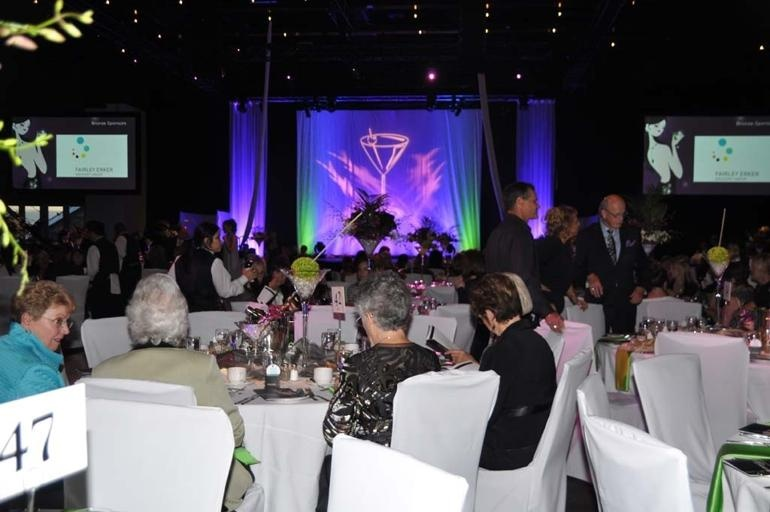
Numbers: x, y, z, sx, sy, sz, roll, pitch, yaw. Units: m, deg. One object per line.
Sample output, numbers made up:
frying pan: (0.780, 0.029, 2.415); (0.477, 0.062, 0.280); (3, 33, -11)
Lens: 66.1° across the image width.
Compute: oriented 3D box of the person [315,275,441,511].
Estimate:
person: (-0.025, 0.706, 2.890); (0.587, 1.232, 0.605); (2, 4, -3)

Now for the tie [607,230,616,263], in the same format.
tie: (2.123, -0.079, 5.574); (0.046, 0.373, 0.044); (-4, -12, -6)

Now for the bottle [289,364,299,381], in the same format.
bottle: (-0.526, 0.693, 3.463); (0.057, 0.104, 0.060); (-1, 2, 0)

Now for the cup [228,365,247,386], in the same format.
cup: (-0.821, 0.675, 3.295); (0.090, 0.073, 0.088); (-1, -6, 0)

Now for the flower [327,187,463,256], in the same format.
flower: (0.448, -0.816, 13.628); (1.870, 1.060, 1.737); (4, 1, 29)

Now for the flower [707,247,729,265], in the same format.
flower: (2.797, -0.001, 4.981); (0.159, 0.149, 0.151); (3, 11, 34)

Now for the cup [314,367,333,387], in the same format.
cup: (-0.347, 0.689, 3.370); (0.094, 0.099, 0.098); (1, -1, 0)

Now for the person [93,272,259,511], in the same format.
person: (-0.969, 0.662, 2.777); (0.775, 1.081, 0.538); (4, 4, 24)

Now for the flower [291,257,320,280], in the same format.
flower: (-0.493, 0.074, 3.754); (0.141, 0.118, 0.139); (2, 5, 5)

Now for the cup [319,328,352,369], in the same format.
cup: (-0.319, 0.578, 3.684); (0.148, 0.257, 0.245); (0, -5, 2)
